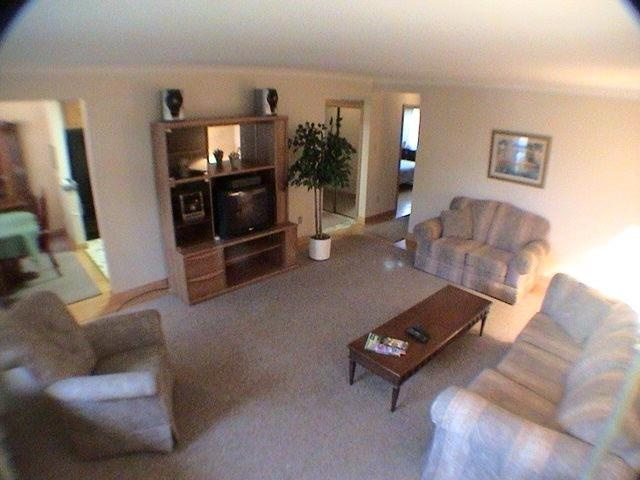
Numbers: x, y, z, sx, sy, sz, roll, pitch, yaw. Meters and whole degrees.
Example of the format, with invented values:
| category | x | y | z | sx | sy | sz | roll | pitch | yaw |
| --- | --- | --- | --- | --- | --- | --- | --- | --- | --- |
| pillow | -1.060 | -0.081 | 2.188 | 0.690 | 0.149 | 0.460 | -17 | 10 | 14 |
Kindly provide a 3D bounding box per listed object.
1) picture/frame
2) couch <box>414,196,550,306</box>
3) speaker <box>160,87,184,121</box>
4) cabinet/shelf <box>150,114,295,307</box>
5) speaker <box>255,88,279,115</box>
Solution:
| category | x | y | z | sx | sy | sz | roll | pitch | yaw |
| --- | --- | --- | --- | --- | --- | --- | --- | --- | --- |
| picture/frame | 2.654 | -1.098 | 6.078 | 0.714 | 0.649 | 0.056 | 21 | 34 | 38 |
| couch | 2.158 | 0.059 | 6.199 | 1.575 | 1.029 | 0.893 | 20 | 29 | 37 |
| speaker | -1.638 | -1.491 | 5.066 | 0.135 | 0.402 | 0.273 | 22 | 27 | 40 |
| cabinet/shelf | -1.247 | -0.379 | 5.638 | 1.781 | 2.270 | 0.744 | -18 | 32 | -36 |
| speaker | -0.700 | -1.782 | 5.974 | 0.307 | 0.427 | 0.415 | -4 | 21 | -9 |
